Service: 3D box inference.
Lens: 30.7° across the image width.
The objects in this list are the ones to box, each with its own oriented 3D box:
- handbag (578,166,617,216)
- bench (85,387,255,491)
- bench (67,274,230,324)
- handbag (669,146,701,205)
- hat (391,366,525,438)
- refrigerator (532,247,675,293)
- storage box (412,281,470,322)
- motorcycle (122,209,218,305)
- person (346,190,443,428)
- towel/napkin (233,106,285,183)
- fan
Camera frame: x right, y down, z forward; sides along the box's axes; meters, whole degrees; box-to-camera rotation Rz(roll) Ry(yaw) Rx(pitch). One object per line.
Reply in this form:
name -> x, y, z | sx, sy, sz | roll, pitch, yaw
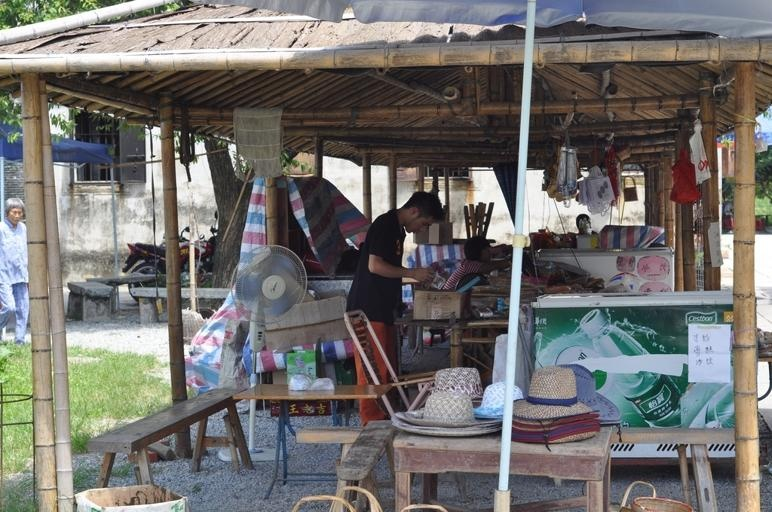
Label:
handbag -> 2.877, -0.855, 19.448 | 0.456, 0.619, 0.234 | -9, 13, 4
bench -> -2.351, 2.165, 15.698 | 0.730, 0.907, 2.462 | 0, 7, 21
bench -> -4.382, 0.744, 23.261 | 2.324, 0.825, 1.206 | 2, 8, 12
handbag -> 3.686, -0.976, 17.395 | 0.349, 0.667, 0.908 | 0, 2, 12
hat -> 0.743, 1.496, 14.404 | 0.850, 0.288, 0.896 | -1, -1, 11
refrigerator -> 3.117, 0.184, 19.335 | 1.603, 0.565, 0.408 | 0, 2, -1
storage box -> 0.611, 0.575, 16.503 | 0.588, 0.348, 0.185 | 0, 2, 4
motorcycle -> -3.980, 0.052, 25.647 | 1.546, 2.253, 1.648 | 1, 5, 15
person -> 0.055, 0.480, 16.613 | 0.940, 2.918, 1.038 | 0, 1, 10
towel/napkin -> -1.531, -1.330, 16.698 | 0.572, 0.784, 0.231 | -1, 2, -7
fan -> -1.481, 1.153, 16.514 | 1.003, 2.657, 0.795 | -6, 11, -32
